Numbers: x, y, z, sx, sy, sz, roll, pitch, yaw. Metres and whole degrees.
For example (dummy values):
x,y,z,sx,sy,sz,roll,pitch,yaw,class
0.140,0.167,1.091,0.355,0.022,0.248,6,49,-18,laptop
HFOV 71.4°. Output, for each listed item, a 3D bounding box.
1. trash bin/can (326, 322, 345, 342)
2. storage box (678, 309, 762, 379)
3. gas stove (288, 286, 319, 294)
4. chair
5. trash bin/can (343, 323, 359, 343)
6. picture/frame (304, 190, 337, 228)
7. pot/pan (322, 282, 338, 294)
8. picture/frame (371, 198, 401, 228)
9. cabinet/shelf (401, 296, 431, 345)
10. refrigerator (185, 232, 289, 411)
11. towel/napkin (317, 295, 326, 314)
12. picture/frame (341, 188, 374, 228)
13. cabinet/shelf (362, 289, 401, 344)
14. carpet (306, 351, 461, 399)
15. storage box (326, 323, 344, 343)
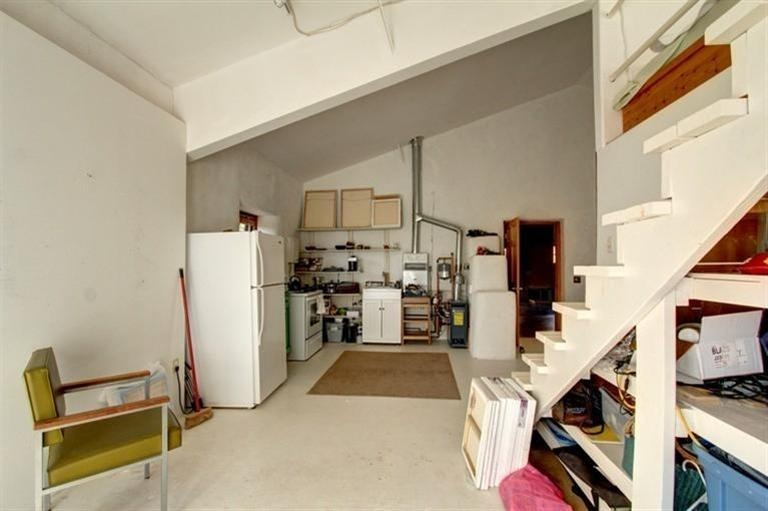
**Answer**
x,y,z,sx,sy,sz,roll,pitch,yaw,class
-0.785,1.205,8.645,0.275,0.331,0.347,0,-1,2,trash bin/can
2.594,0.668,4.356,0.654,0.613,0.519,0,-1,-1,storage box
-1.137,0.479,7.665,0.430,0.086,0.658,0,-5,-9,gas stove
-2.460,1.608,5.175,1.397,1.720,1.268,0,2,-23,chair
-0.523,1.220,8.446,0.284,0.331,0.273,1,-6,-5,trash bin/can
-1.041,-0.761,8.862,0.657,0.752,0.078,0,-13,2,picture/frame
-0.857,0.500,8.466,0.214,0.195,0.150,-1,3,4,pot/pan
0.042,-0.684,8.686,0.472,0.435,0.165,0,-7,2,picture/frame
0.528,1.021,8.535,0.609,0.890,0.657,-1,-5,1,cabinet/shelf
-1.615,0.698,5.938,1.102,1.924,0.527,1,-4,-22,refrigerator
-0.952,0.703,7.784,0.152,0.245,0.213,3,1,-7,towel/napkin
-0.419,-0.772,8.775,0.659,0.771,0.102,-1,-13,5,picture/frame
-0.029,0.905,8.258,0.587,0.811,0.182,0,-3,-5,cabinet/shelf
0.072,1.494,6.940,1.732,0.382,1.819,-1,-5,6,carpet
-0.783,1.224,8.634,0.273,0.312,0.307,0,1,3,storage box
